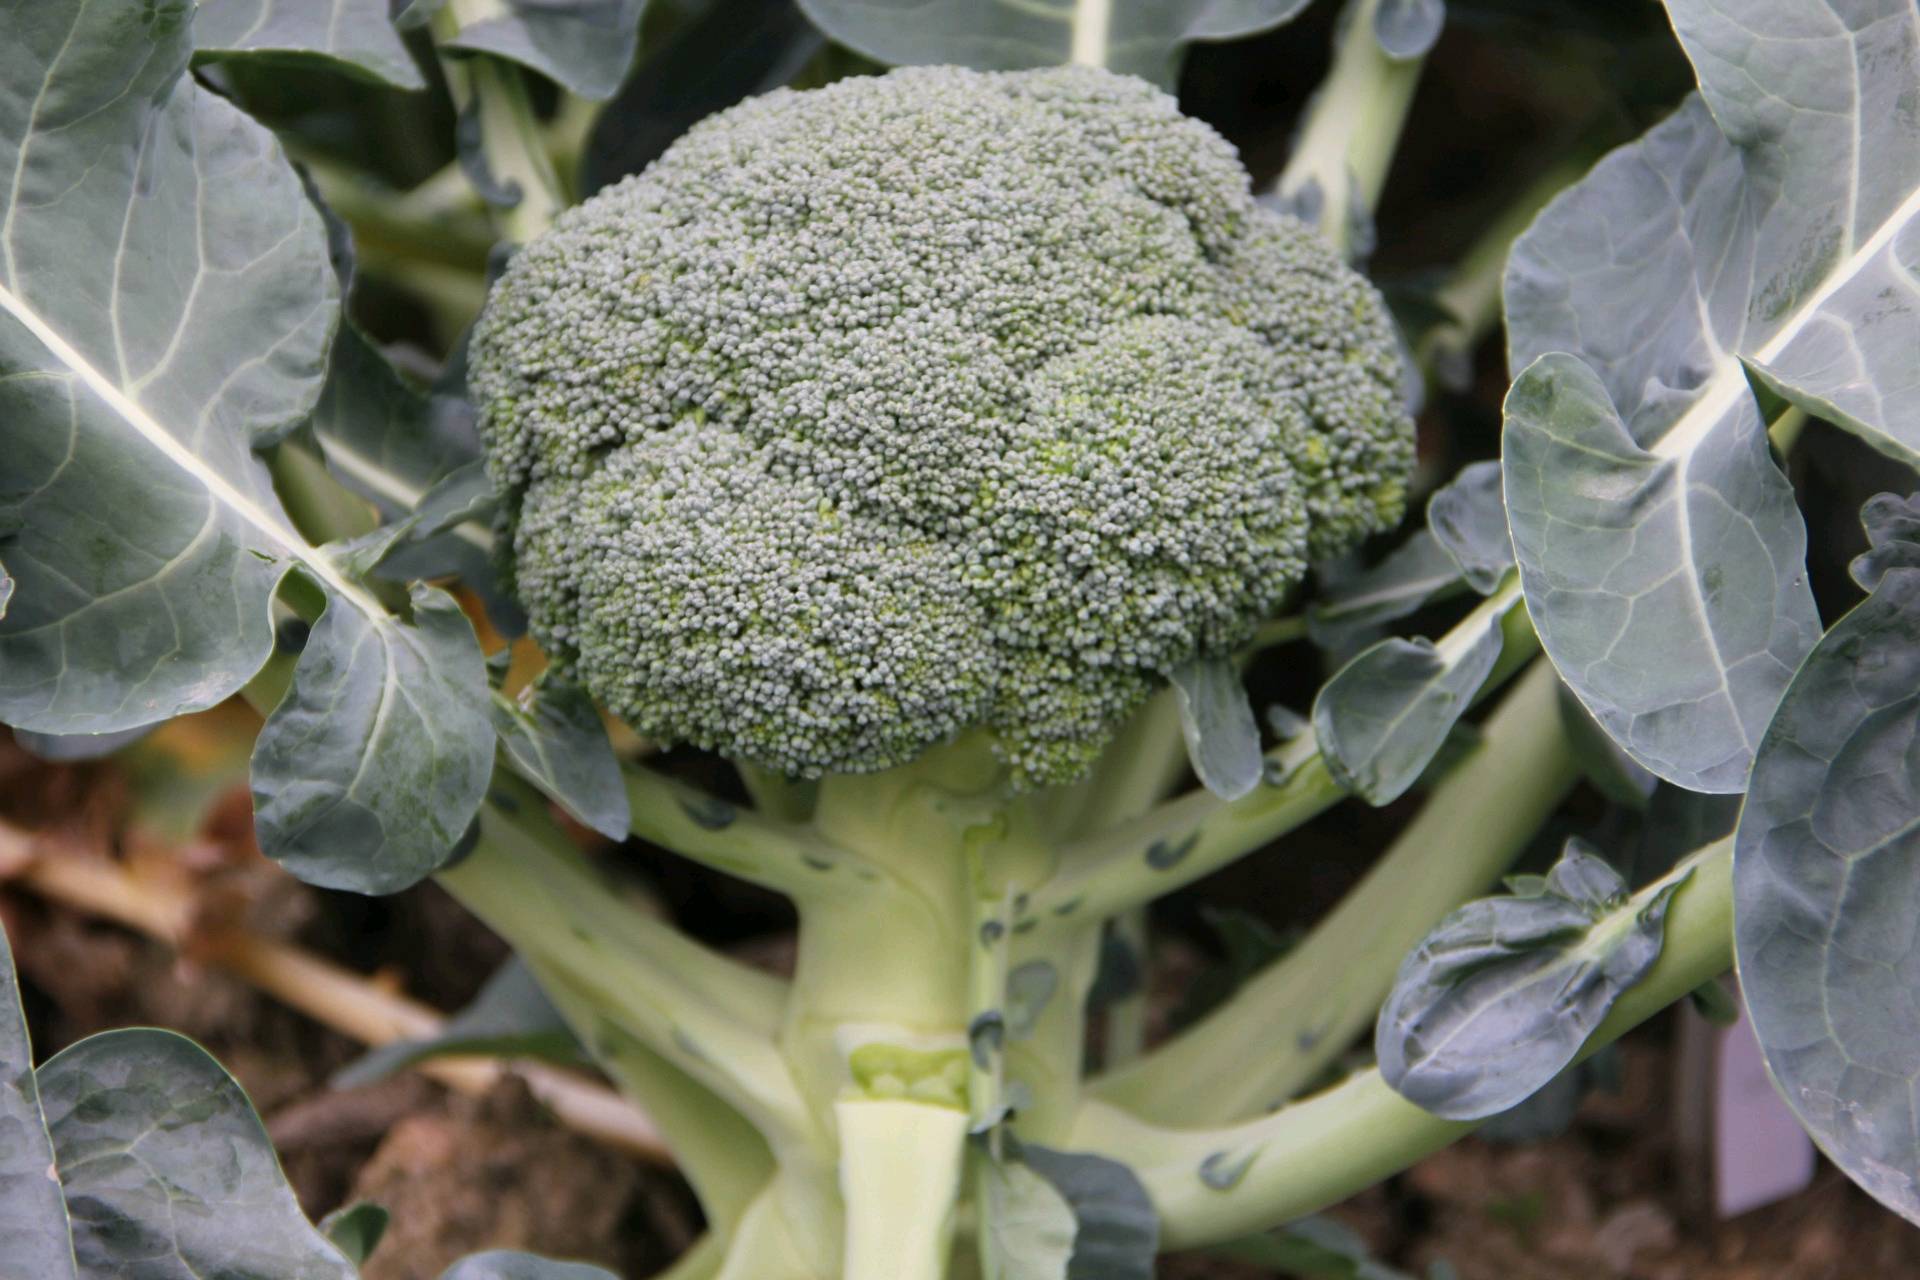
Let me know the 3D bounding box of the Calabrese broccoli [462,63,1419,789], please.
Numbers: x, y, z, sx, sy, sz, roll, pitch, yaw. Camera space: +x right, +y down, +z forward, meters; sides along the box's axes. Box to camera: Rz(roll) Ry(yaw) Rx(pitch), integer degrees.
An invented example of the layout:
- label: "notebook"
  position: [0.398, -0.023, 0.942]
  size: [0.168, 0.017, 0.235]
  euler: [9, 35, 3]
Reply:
- label: "Calabrese broccoli"
  position: [-0.011, -0.200, 1.860]
  size: [0.830, 0.251, 0.616]
  euler: [-11, 68, -8]
